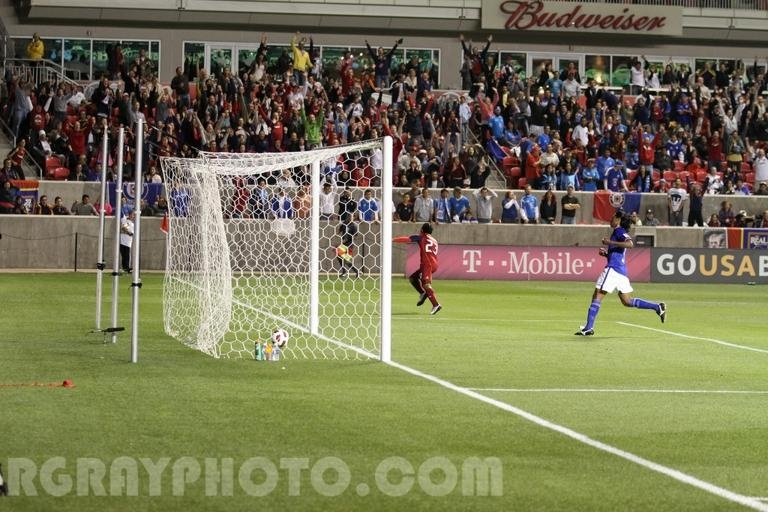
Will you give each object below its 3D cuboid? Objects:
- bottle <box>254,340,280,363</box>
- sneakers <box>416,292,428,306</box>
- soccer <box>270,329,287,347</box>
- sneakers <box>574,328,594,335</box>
[{"bbox_3d":[-2.751,2.265,32.447,0.508,0.429,0.186,1,-17,-3],"label":"bottle"},{"bbox_3d":[1.163,1.227,39.359,0.140,0.413,0.176,38,2,-32],"label":"sneakers"},{"bbox_3d":[-2.477,1.964,32.607,0.378,0.465,0.543,1,6,-5],"label":"soccer"},{"bbox_3d":[5.252,1.931,35.348,0.519,0.237,0.188,2,1,14],"label":"sneakers"}]
